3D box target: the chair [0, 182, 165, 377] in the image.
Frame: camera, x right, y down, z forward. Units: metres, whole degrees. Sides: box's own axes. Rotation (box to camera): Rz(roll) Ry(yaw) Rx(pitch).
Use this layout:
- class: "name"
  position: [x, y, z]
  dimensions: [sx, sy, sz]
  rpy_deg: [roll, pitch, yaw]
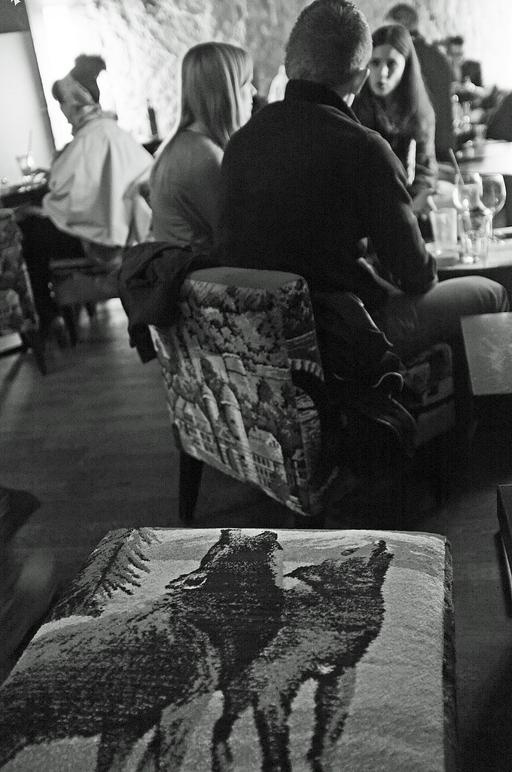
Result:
- class: "chair"
  position: [-1.027, -0.658, 3.257]
  dimensions: [0.676, 0.876, 0.805]
  rpy_deg: [-16, 24, -25]

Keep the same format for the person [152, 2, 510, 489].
- class: "person"
  position: [0.208, -0.462, 1.576]
  dimensions: [0.838, 1.057, 0.766]
  rpy_deg: [17, 36, 33]

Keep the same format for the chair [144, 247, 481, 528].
- class: "chair"
  position: [0.091, -0.009, 1.325]
  dimensions: [0.488, 0.625, 0.546]
  rpy_deg: [11, 32, 24]
